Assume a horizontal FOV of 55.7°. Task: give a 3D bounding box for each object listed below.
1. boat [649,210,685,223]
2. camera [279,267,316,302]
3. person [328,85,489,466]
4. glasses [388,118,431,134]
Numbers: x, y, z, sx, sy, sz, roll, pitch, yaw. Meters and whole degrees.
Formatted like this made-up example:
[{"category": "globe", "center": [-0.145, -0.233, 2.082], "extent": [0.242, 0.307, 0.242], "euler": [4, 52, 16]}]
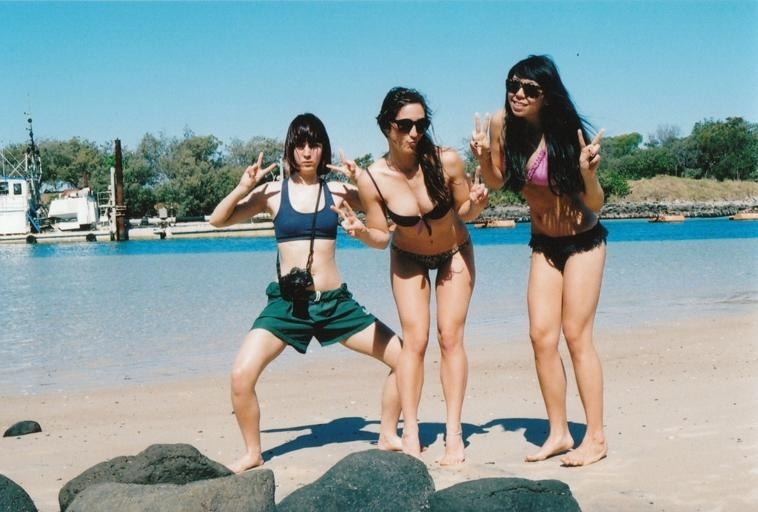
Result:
[{"category": "boat", "center": [31.084, -4.204, 76.939], "extent": [3.163, 1.074, 1.963], "euler": [2, 2, 8]}, {"category": "camera", "center": [-0.737, 0.270, 6.563], "extent": [0.295, 0.303, 0.118], "euler": [16, 7, 0]}, {"category": "person", "center": [0.409, 0.187, 6.647], "extent": [1.181, 3.439, 0.688], "euler": [-4, 5, -24]}, {"category": "glasses", "center": [0.297, -1.164, 6.482], "extent": [0.341, 0.131, 0.163], "euler": [-2, 4, 1]}]
